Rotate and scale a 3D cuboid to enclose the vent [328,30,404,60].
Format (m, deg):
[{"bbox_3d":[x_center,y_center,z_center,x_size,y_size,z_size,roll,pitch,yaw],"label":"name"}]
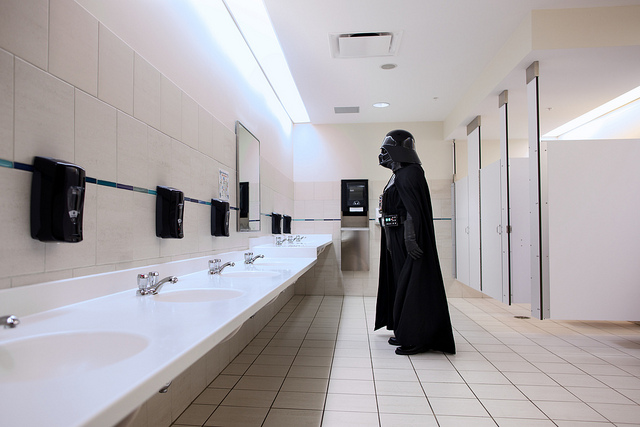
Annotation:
[{"bbox_3d":[0.503,-1.908,4.646,0.804,0.139,0.524,1,4,5],"label":"vent"}]

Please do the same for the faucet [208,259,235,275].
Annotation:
[{"bbox_3d":[-0.830,0.446,3.415,0.167,0.101,0.125,0,-5,13],"label":"faucet"}]

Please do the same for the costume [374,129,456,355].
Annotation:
[{"bbox_3d":[0.932,0.263,4.494,0.875,2.291,0.837,0,0,0],"label":"costume"}]

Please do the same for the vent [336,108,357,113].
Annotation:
[{"bbox_3d":[0.433,-1.689,6.702,0.330,0.049,0.165,1,5,9],"label":"vent"}]

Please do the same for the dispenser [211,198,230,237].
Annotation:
[{"bbox_3d":[-0.956,0.042,3.911,0.153,0.372,0.175,0,5,-7],"label":"dispenser"}]

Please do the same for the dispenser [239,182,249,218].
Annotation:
[{"bbox_3d":[-0.858,-0.152,4.560,0.124,0.360,0.379,0,-4,2],"label":"dispenser"}]

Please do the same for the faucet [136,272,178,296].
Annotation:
[{"bbox_3d":[-1.068,0.451,2.638,0.209,0.092,0.141,-4,-6,30],"label":"faucet"}]

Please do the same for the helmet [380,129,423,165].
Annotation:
[{"bbox_3d":[0.871,-0.753,4.590,0.387,0.375,0.438,4,3,-2],"label":"helmet"}]

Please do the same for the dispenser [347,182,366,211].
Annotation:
[{"bbox_3d":[0.644,-0.374,7.333,0.395,0.579,0.302,1,26,8],"label":"dispenser"}]

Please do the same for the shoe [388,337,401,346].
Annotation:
[{"bbox_3d":[0.790,1.389,4.447,0.187,0.081,0.065,0,-5,38],"label":"shoe"}]
